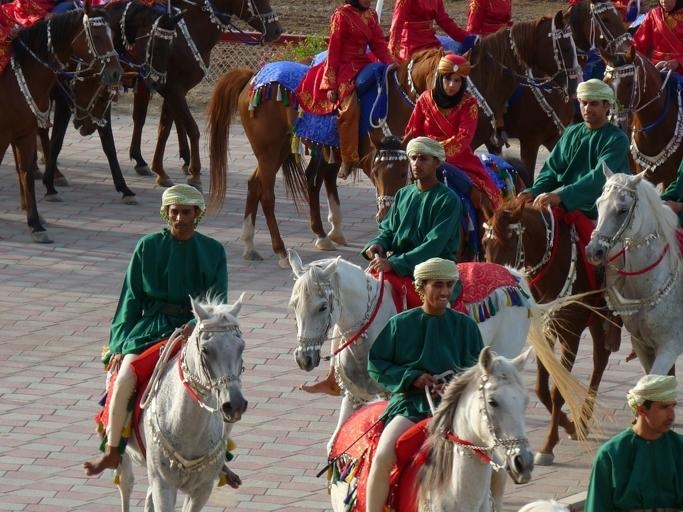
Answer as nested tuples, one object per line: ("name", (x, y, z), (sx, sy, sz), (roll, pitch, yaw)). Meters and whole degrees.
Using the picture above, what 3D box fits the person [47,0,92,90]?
("person", (-3.620, -2.800, 18.104), (0.789, 0.994, 0.435), (4, 2, -20))

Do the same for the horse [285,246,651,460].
("horse", (1.168, 0.644, 12.329), (3.863, 2.461, 1.245), (-5, 6, -27))
